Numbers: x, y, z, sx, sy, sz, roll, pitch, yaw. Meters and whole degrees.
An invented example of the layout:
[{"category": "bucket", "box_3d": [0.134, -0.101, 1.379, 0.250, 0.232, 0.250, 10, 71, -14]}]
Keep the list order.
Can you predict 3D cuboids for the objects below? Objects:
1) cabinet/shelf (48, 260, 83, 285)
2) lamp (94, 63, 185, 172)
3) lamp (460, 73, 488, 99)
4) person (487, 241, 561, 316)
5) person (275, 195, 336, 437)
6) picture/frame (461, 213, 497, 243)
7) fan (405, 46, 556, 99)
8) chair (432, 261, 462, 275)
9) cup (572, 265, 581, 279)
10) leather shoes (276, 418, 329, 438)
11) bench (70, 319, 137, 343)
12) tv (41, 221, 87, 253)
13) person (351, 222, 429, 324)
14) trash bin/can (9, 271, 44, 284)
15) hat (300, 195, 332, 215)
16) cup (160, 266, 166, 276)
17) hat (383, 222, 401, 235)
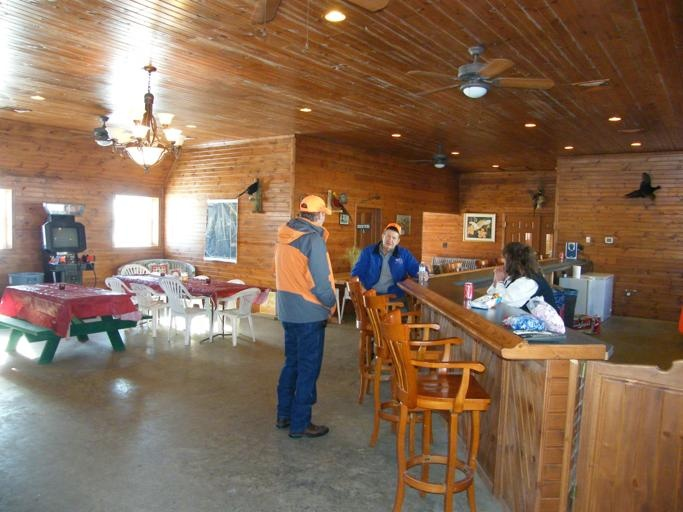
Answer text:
[{"category": "cabinet/shelf", "box_3d": [-5.264, 0.279, 9.479, 0.703, 0.529, 0.627, 1, 2, 9]}, {"category": "lamp", "box_3d": [-2.483, -1.753, 6.189, 1.211, 1.122, 1.021, 6, 14, 3]}, {"category": "lamp", "box_3d": [1.342, -1.744, 4.948, 0.227, 0.117, 0.212, -14, -42, 32]}, {"category": "person", "box_3d": [1.797, 0.351, 4.715, 0.678, 0.894, 0.523, -12, 7, 15]}, {"category": "person", "box_3d": [-0.344, 0.550, 4.445, 0.504, 2.202, 0.483, 0, 10, -16]}, {"category": "picture/frame", "box_3d": [4.143, -0.866, 14.645, 1.115, 0.759, 0.106, 3, 3, 31]}, {"category": "fan", "box_3d": [1.430, -1.780, 4.801, 0.954, 0.294, 0.983, 5, 5, 32]}, {"category": "chair", "box_3d": [1.703, 0.212, 8.001, 0.391, 0.180, 0.341, -1, 3, 7]}, {"category": "cup", "box_3d": [4.575, 0.306, 9.520, 0.166, 0.245, 0.234, 6, 9, 23]}, {"category": "leather shoes", "box_3d": [-0.323, 1.618, 4.527, 0.530, 0.178, 0.158, -2, 4, -20]}, {"category": "bench", "box_3d": [-3.339, 0.985, 6.784, 0.657, 0.132, 0.670, -5, -7, 43]}, {"category": "tv", "box_3d": [-5.398, -0.374, 9.367, 0.423, 0.533, 0.780, -1, 0, 32]}, {"category": "person", "box_3d": [0.551, 0.133, 5.932, 0.976, 0.901, 0.757, 6, 5, 3]}, {"category": "trash bin/can", "box_3d": [-5.798, 0.383, 8.934, 0.342, 0.214, 0.414, -1, 4, -36]}, {"category": "hat", "box_3d": [-0.235, -0.477, 4.612, 0.267, 0.177, 0.395, 8, 11, 36]}, {"category": "cup", "box_3d": [-3.383, 0.282, 9.161, 0.117, 0.147, 0.183, -5, 7, -35]}, {"category": "hat", "box_3d": [0.611, -0.326, 5.894, 0.175, 0.127, 0.239, 2, 7, 0]}]
